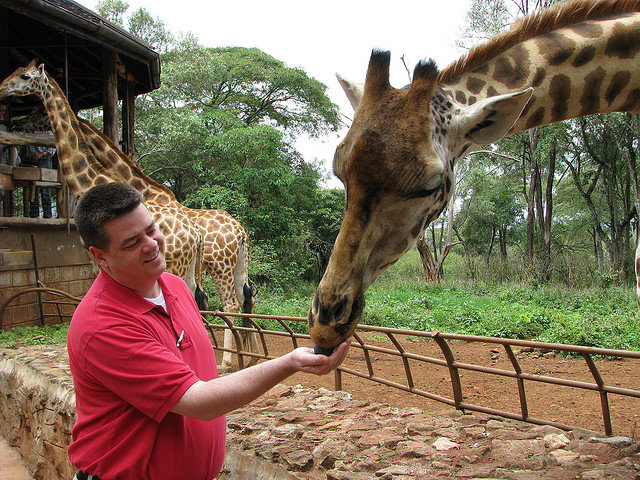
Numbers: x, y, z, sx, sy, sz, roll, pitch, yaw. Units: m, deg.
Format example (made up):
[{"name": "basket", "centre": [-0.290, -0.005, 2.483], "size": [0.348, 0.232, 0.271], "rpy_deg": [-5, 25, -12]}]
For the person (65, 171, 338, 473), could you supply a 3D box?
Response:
[{"name": "person", "centre": [-0.827, 0.520, 2.446], "size": [1.243, 1.724, 0.529], "rpy_deg": [-4, -3, 5]}]
